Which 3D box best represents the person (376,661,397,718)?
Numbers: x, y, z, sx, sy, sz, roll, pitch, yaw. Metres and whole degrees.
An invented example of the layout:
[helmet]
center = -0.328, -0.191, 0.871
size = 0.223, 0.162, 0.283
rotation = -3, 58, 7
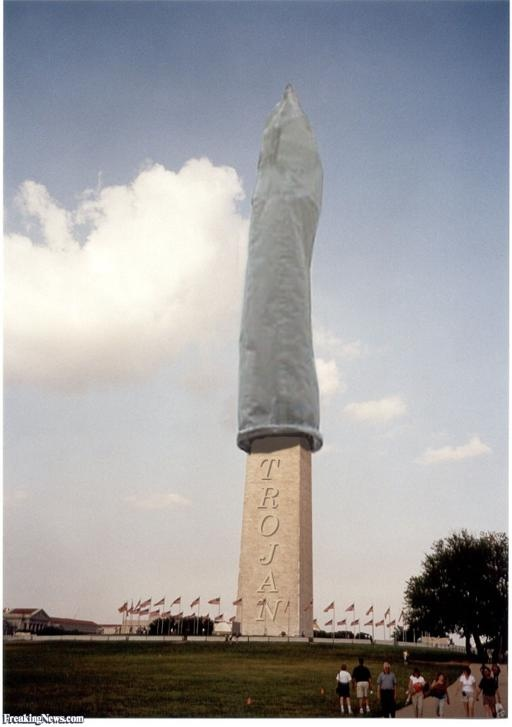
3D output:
[person]
center = 2.761, 6.921, 19.275
size = 0.322, 1.416, 1.464
rotation = -1, -6, 8
